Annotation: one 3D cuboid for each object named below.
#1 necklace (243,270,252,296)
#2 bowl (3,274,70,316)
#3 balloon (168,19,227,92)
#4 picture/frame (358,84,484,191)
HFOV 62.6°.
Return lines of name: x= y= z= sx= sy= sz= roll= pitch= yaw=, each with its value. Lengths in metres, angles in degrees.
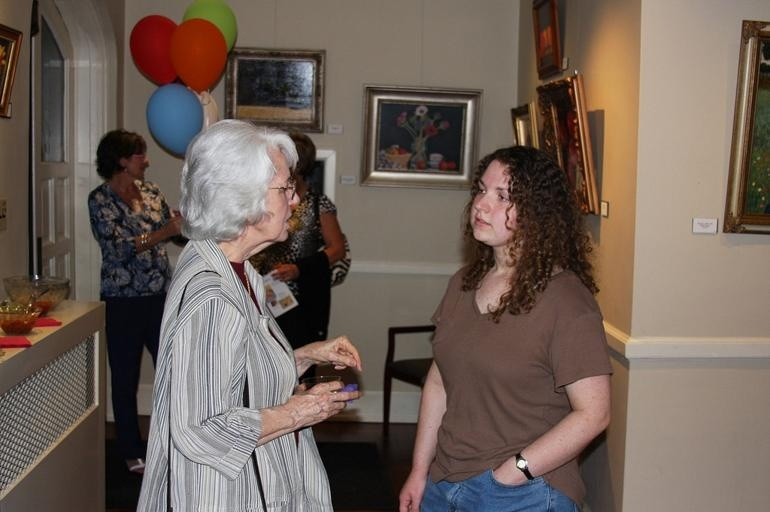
necklace: x=-0.525 y=0.106 z=2.417 sx=0.017 sy=0.076 sz=0.045 roll=-20 pitch=1 yaw=-17
bowl: x=-1.772 y=0.179 z=3.221 sx=0.220 sy=0.135 sz=0.231 roll=2 pitch=3 yaw=0
balloon: x=-1.405 y=-1.469 z=4.780 sx=0.432 sy=0.711 sz=0.442 roll=-5 pitch=14 yaw=-26
picture/frame: x=0.281 y=-1.049 z=5.377 sx=1.087 sy=1.031 sz=0.118 roll=1 pitch=9 yaw=-4
